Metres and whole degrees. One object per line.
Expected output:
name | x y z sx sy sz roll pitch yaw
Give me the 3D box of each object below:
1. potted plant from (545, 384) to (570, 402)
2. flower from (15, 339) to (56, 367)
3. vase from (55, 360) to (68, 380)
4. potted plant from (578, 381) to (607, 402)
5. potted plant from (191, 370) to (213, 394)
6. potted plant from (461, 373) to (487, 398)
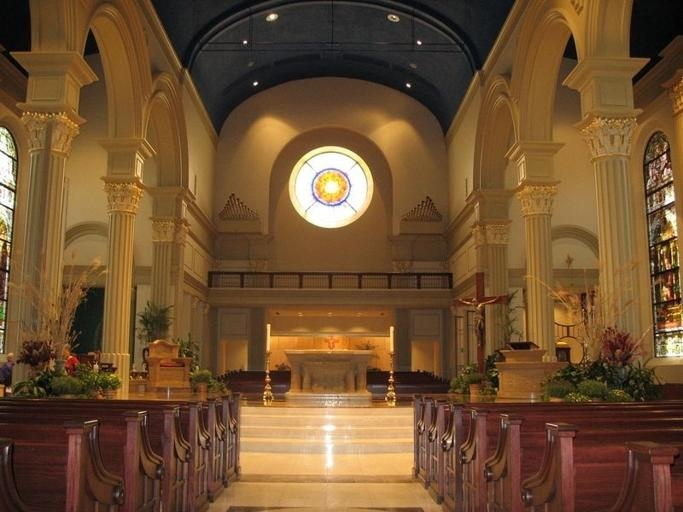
potted plant | 3.064 1.928 8.303 0.246 0.197 0.257 -2 -5 14
flower | -4.284 1.348 8.167 0.513 0.417 0.259 -2 -12 12
vase | -3.892 1.550 8.081 0.162 0.225 0.495 7 -14 -27
potted plant | 3.466 1.871 8.064 0.248 0.233 0.261 -4 -14 28
potted plant | -3.713 3.284 15.359 0.537 0.537 0.881 6 -14 -26
potted plant | 3.021 2.933 13.356 0.591 0.673 0.636 0 -13 3
